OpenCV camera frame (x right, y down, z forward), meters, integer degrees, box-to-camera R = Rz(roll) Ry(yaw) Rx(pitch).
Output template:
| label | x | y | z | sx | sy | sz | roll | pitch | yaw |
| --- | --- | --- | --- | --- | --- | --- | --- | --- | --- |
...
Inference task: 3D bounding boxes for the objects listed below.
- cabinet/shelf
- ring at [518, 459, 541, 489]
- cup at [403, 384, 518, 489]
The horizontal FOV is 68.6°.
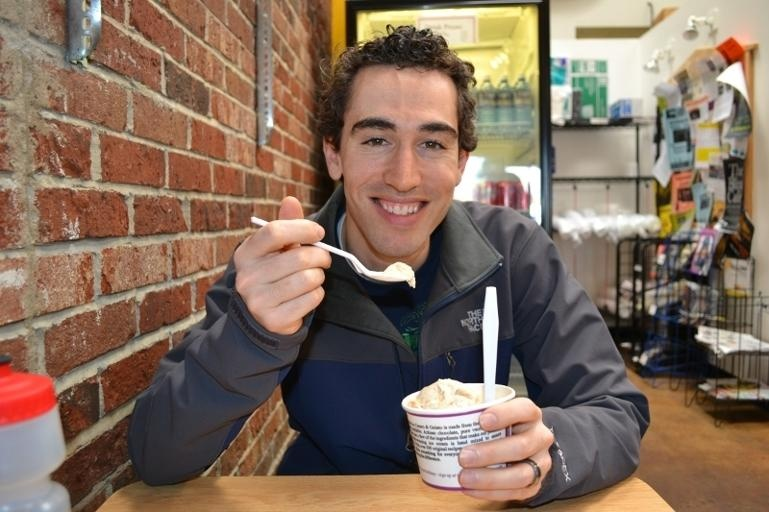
| label | x | y | z | sx | sy | sz | roll | pitch | yaw |
| --- | --- | --- | --- | --- | --- | --- | --- | --- | --- |
| cabinet/shelf | 2.025 | -0.772 | 5.129 | 0.836 | 0.836 | 0.278 | 1 | 0 | 1 |
| ring | 0.373 | 0.543 | 1.450 | 0.059 | 0.071 | 0.025 | 1 | 30 | 43 |
| cup | 0.189 | 0.425 | 1.407 | 0.245 | 0.196 | 0.247 | -2 | 5 | 0 |
